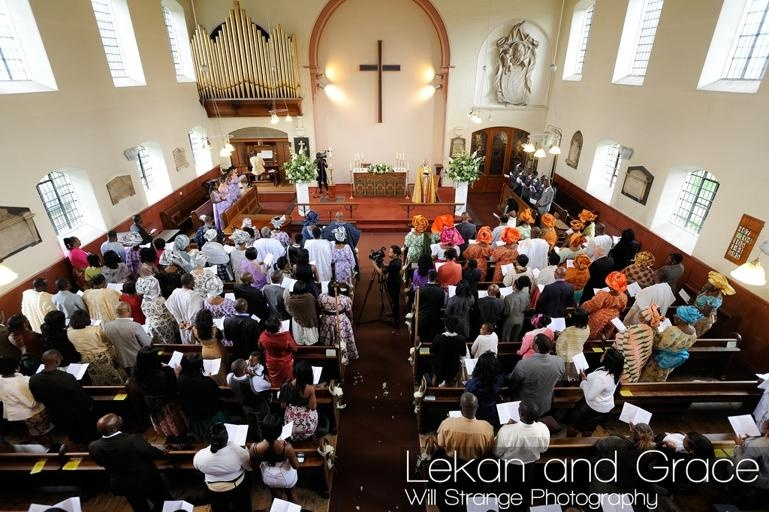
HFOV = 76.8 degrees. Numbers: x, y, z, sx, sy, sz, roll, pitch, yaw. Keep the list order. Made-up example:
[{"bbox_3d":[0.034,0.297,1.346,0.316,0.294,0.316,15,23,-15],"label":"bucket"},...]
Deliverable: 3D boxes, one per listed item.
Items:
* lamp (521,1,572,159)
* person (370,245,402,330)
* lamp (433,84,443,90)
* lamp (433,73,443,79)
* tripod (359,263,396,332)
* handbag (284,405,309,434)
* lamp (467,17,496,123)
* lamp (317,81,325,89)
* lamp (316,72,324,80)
[{"bbox_3d":[5.416,-5.556,15.892,0.789,5.069,1.189,-1,24,5],"label":"lamp"},{"bbox_3d":[0.032,0.621,10.486,0.642,1.791,0.569,-5,23,-5],"label":"person"},{"bbox_3d":[1.889,-5.945,17.159,0.102,0.232,0.359,-19,28,-32],"label":"lamp"},{"bbox_3d":[1.875,-6.235,16.931,0.164,0.192,0.510,-9,24,-13],"label":"lamp"},{"bbox_3d":[-0.159,1.018,11.083,0.950,0.852,2.083,12,-18,1],"label":"tripod"},{"bbox_3d":[-1.401,2.597,7.697,0.418,0.376,0.219,2,17,-2],"label":"handbag"},{"bbox_3d":[3.260,-5.901,16.223,0.762,2.975,0.311,-2,24,3],"label":"lamp"},{"bbox_3d":[-2.236,-5.988,17.151,0.123,0.218,0.288,19,31,40],"label":"lamp"},{"bbox_3d":[-2.257,-6.243,16.923,0.140,0.207,0.395,5,25,19],"label":"lamp"}]
